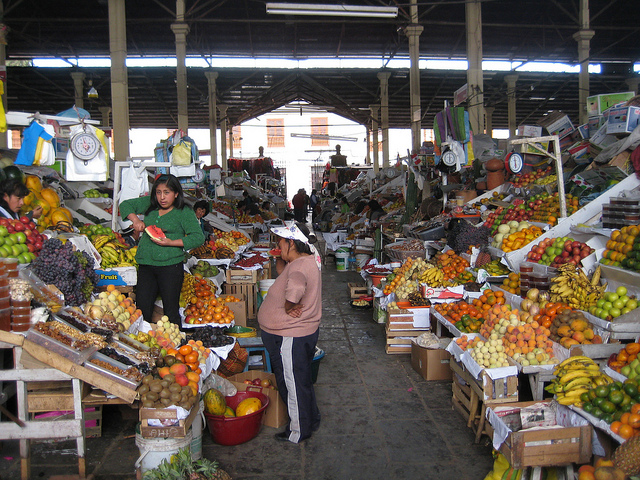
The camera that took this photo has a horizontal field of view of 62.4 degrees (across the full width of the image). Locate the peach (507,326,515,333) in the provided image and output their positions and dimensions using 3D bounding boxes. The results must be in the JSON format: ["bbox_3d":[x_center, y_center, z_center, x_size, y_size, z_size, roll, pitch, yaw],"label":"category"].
[{"bbox_3d":[1.652,0.770,4.574,0.045,0.057,0.046,29,34,14],"label":"peach"}]

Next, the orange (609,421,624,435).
[{"bbox_3d":[1.998,1.274,3.568,0.066,0.088,0.070,7,-7,-2],"label":"orange"}]

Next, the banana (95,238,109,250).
[{"bbox_3d":[-2.082,0.019,5.049,0.034,0.055,0.201,22,41,19],"label":"banana"}]

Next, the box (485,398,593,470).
[{"bbox_3d":[1.556,1.340,3.771,0.379,0.178,0.405,-1,1,-7],"label":"box"}]

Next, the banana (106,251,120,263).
[{"bbox_3d":[-1.950,0.167,4.973,0.033,0.137,0.037,-42,12,22],"label":"banana"}]

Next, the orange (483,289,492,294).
[{"bbox_3d":[1.774,0.545,5.608,0.049,0.064,0.051,15,11,24],"label":"orange"}]

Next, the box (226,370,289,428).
[{"bbox_3d":[-0.553,1.368,4.771,0.520,0.413,0.513,-4,11,-21],"label":"box"}]

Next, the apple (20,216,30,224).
[{"bbox_3d":[-2.447,-0.164,4.372,0.062,0.074,0.070,8,-38,-24],"label":"apple"}]

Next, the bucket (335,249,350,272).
[{"bbox_3d":[0.435,0.430,11.231,0.361,0.454,0.330,0,-4,0],"label":"bucket"}]

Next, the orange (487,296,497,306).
[{"bbox_3d":[1.757,0.623,5.405,0.088,0.092,0.090,-5,28,-29],"label":"orange"}]

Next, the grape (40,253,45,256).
[{"bbox_3d":[-2.123,0.114,4.028,0.027,0.017,0.021,-6,22,7],"label":"grape"}]

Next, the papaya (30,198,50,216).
[{"bbox_3d":[-2.822,-0.350,5.291,0.133,0.145,0.244,7,19,-43],"label":"papaya"}]

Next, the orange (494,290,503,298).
[{"bbox_3d":[1.831,0.557,5.404,0.073,0.069,0.063,0,4,19],"label":"orange"}]

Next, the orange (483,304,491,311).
[{"bbox_3d":[1.671,0.676,5.279,0.055,0.060,0.058,0,5,-5],"label":"orange"}]

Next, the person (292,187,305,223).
[{"bbox_3d":[-0.754,-1.236,18.549,0.372,1.126,1.174,-1,4,-1],"label":"person"}]

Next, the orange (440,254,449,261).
[{"bbox_3d":[1.540,0.215,6.551,0.078,0.063,0.062,-11,31,22],"label":"orange"}]

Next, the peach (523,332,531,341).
[{"bbox_3d":[1.759,0.826,4.474,0.049,0.053,0.051,-2,5,5],"label":"peach"}]

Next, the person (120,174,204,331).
[{"bbox_3d":[-1.478,0.128,4.917,0.748,1.450,0.481,2,5,44],"label":"person"}]

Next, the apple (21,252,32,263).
[{"bbox_3d":[-2.302,0.146,4.139,0.058,0.067,0.084,7,4,-12],"label":"apple"}]

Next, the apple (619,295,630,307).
[{"bbox_3d":[2.550,0.508,4.424,0.058,0.074,0.062,-1,-17,5],"label":"apple"}]

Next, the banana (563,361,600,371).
[{"bbox_3d":[2.032,0.987,4.107,0.256,0.051,0.116,-1,4,-4],"label":"banana"}]

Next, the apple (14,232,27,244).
[{"bbox_3d":[-2.368,-0.009,4.194,0.075,0.096,0.076,0,-15,-8],"label":"apple"}]

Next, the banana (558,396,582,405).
[{"bbox_3d":[1.848,1.186,3.884,0.149,0.050,0.041,-20,5,-11],"label":"banana"}]

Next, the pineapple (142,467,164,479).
[{"bbox_3d":[-1.139,1.609,3.617,0.143,0.052,0.071,0,4,14],"label":"pineapple"}]

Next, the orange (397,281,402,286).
[{"bbox_3d":[0.983,0.546,6.577,0.042,0.058,0.044,7,21,18],"label":"orange"}]

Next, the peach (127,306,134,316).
[{"bbox_3d":[-1.585,0.604,4.415,0.052,0.069,0.055,-10,-6,7],"label":"peach"}]

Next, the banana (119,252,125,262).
[{"bbox_3d":[-1.896,0.170,5.050,0.027,0.087,0.069,-1,4,8],"label":"banana"}]

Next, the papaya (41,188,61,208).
[{"bbox_3d":[-2.832,-0.443,5.578,0.117,0.212,0.155,-42,-7,16],"label":"papaya"}]

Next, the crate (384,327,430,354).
[{"bbox_3d":[0.952,1.162,6.107,0.316,0.145,0.333,0,2,1],"label":"crate"}]

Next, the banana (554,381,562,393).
[{"bbox_3d":[1.815,1.126,4.016,0.045,0.025,0.063,-2,43,14],"label":"banana"}]

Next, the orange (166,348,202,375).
[{"bbox_3d":[-1.098,0.979,4.307,0.312,0.189,0.158,2,4,37],"label":"orange"}]

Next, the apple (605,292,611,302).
[{"bbox_3d":[2.452,0.492,4.493,0.043,0.069,0.074,1,4,30],"label":"apple"}]

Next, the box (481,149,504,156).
[{"bbox_3d":[2.988,-1.502,9.105,0.221,0.142,0.626,1,4,33],"label":"box"}]

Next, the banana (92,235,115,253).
[{"bbox_3d":[-2.096,0.026,5.031,0.130,0.063,0.222,9,22,-11],"label":"banana"}]

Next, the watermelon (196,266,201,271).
[{"bbox_3d":[-1.489,0.346,6.440,0.053,0.037,0.030,-2,4,-15],"label":"watermelon"}]

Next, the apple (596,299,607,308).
[{"bbox_3d":[2.399,0.539,4.508,0.058,0.073,0.060,20,1,1],"label":"apple"}]

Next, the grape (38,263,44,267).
[{"bbox_3d":[-2.109,0.193,3.979,0.041,0.028,0.017,-2,4,-16],"label":"grape"}]

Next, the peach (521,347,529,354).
[{"bbox_3d":[1.714,0.929,4.420,0.048,0.060,0.050,-10,30,52],"label":"peach"}]

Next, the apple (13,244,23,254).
[{"bbox_3d":[-2.374,0.076,4.139,0.050,0.074,0.048,1,4,27],"label":"apple"}]

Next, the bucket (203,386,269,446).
[{"bbox_3d":[-0.721,1.443,4.484,0.471,0.376,0.498,1,9,0],"label":"bucket"}]

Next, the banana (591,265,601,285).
[{"bbox_3d":[2.542,0.334,4.852,0.063,0.223,0.071,17,-1,26],"label":"banana"}]

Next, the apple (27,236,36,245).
[{"bbox_3d":[-2.314,0.004,4.219,0.049,0.053,0.052,-2,5,-2],"label":"apple"}]

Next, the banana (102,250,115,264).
[{"bbox_3d":[-1.998,0.168,4.954,0.027,0.124,0.040,-40,9,24],"label":"banana"}]

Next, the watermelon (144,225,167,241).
[{"bbox_3d":[-1.481,-0.060,4.703,0.139,0.135,0.210,-4,5,-41],"label":"watermelon"}]

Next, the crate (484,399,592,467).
[{"bbox_3d":[1.578,1.381,3.916,0.528,0.425,0.654,-2,6,-2],"label":"crate"}]

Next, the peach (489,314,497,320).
[{"bbox_3d":[1.587,0.710,4.824,0.040,0.052,0.043,5,-12,-3],"label":"peach"}]

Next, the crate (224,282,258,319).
[{"bbox_3d":[-1.015,0.765,7.072,0.489,0.527,0.514,-1,-1,-2],"label":"crate"}]
